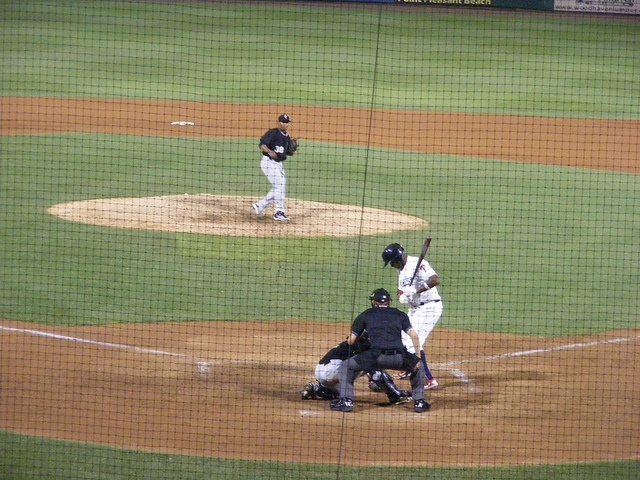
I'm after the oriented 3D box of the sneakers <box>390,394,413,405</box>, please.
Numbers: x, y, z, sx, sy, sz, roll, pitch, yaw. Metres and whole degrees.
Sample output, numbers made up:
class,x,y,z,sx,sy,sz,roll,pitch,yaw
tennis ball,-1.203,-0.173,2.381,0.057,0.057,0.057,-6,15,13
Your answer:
class,x,y,z,sx,sy,sz,roll,pitch,yaw
sneakers,1.778,3.470,28.682,0.373,0.110,0.248,1,-2,-33

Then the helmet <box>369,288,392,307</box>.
class,x,y,z,sx,sy,sz,roll,pitch,yaw
helmet,1.329,1.226,28.509,0.357,0.214,0.446,0,16,-2

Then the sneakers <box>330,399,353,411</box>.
class,x,y,z,sx,sy,sz,roll,pitch,yaw
sneakers,0.523,3.555,28.297,0.513,0.268,0.232,7,9,11

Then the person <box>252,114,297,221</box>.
class,x,y,z,sx,sy,sz,roll,pitch,yaw
person,-1.213,-1.990,36.887,1.054,2.955,1.075,5,22,-4

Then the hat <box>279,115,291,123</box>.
class,x,y,z,sx,sy,sz,roll,pitch,yaw
hat,-0.918,-3.387,36.776,0.373,0.164,0.241,-5,10,-6

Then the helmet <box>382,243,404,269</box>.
class,x,y,z,sx,sy,sz,roll,pitch,yaw
helmet,1.644,0.350,29.326,0.431,0.556,0.403,5,21,-5

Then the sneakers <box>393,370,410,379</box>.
class,x,y,z,sx,sy,sz,roll,pitch,yaw
sneakers,1.810,3.019,29.211,0.410,0.154,0.148,3,24,11

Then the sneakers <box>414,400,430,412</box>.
class,x,y,z,sx,sy,sz,roll,pitch,yaw
sneakers,2.203,3.569,28.217,0.433,0.225,0.162,-5,25,-5
